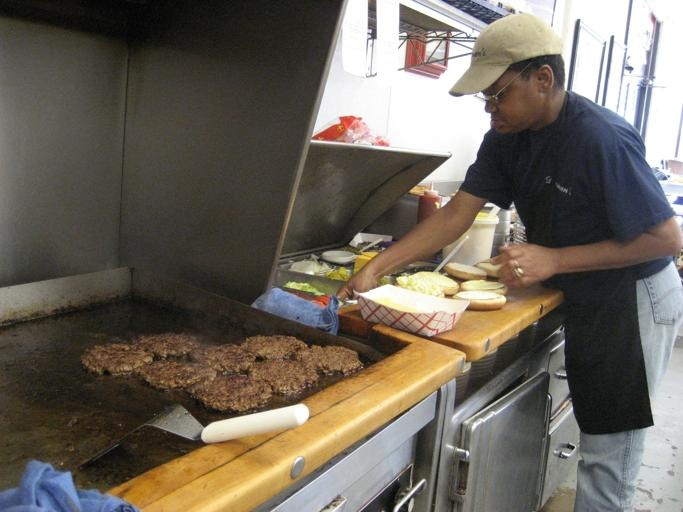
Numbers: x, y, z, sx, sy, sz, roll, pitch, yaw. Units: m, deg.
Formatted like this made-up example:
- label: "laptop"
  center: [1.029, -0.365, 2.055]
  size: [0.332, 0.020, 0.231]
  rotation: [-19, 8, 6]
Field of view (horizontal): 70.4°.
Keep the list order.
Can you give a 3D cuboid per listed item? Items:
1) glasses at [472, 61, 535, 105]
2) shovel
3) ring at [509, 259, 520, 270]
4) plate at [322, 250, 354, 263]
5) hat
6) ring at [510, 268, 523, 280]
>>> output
- label: "glasses"
  center: [0.602, -0.638, 1.779]
  size: [0.151, 0.045, 0.111]
  rotation: [-40, 22, 0]
- label: "shovel"
  center: [-0.290, 0.389, 1.028]
  size: [0.556, 0.084, 0.158]
  rotation: [-12, 14, 23]
- label: "ring"
  center: [0.645, 0.031, 1.806]
  size: [0.033, 0.027, 0.030]
  rotation: [2, 18, -1]
- label: "plate"
  center: [-0.008, 0.006, 2.519]
  size: [0.112, 0.022, 0.080]
  rotation: [-3, 15, -25]
- label: "hat"
  center: [0.612, -0.803, 1.869]
  size: [0.487, 0.206, 0.285]
  rotation: [-16, 33, 4]
- label: "ring"
  center: [0.657, 0.069, 1.812]
  size: [0.011, 0.036, 0.041]
  rotation: [-9, 7, -11]
